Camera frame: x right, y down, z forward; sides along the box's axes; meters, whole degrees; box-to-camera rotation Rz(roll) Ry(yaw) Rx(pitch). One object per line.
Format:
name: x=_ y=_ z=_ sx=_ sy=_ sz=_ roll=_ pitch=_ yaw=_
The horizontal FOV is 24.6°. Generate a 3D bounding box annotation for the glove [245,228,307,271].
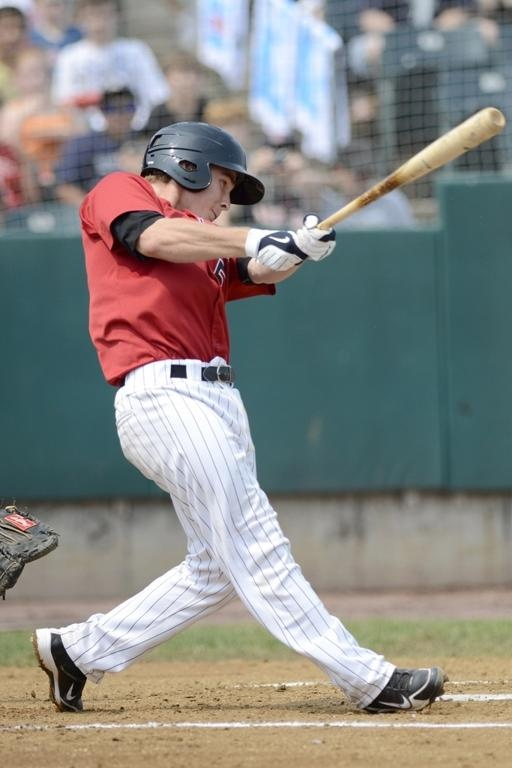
glove: x=0.051 y=-0.343 z=2.967 sx=0.163 sy=0.103 sz=0.108 roll=-4 pitch=4 yaw=-37

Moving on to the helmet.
helmet: x=-0.156 y=-0.624 z=3.317 sx=0.373 sy=0.187 sz=0.207 roll=9 pitch=-13 yaw=-7

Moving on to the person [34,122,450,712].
person: x=-0.120 y=0.070 z=3.143 sx=1.005 sy=1.605 sz=0.473 roll=-2 pitch=4 yaw=5

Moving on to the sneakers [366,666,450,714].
sneakers: x=0.376 y=0.783 z=3.003 sx=0.265 sy=0.078 sz=0.112 roll=-17 pitch=-44 yaw=14

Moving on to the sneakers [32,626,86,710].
sneakers: x=-0.525 y=0.768 z=3.189 sx=0.131 sy=0.250 sz=0.097 roll=-15 pitch=8 yaw=-5
